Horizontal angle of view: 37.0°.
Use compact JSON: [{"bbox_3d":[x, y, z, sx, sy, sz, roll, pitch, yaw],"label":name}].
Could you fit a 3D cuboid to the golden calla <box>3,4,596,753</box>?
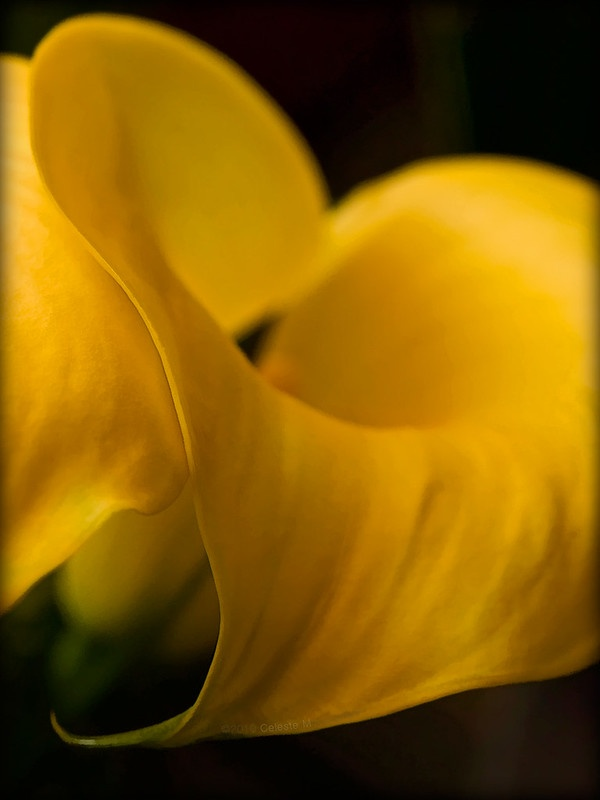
[{"bbox_3d":[-0.002,-0.006,0.443,0.295,0.239,0.252,-1,49,-6],"label":"golden calla"}]
